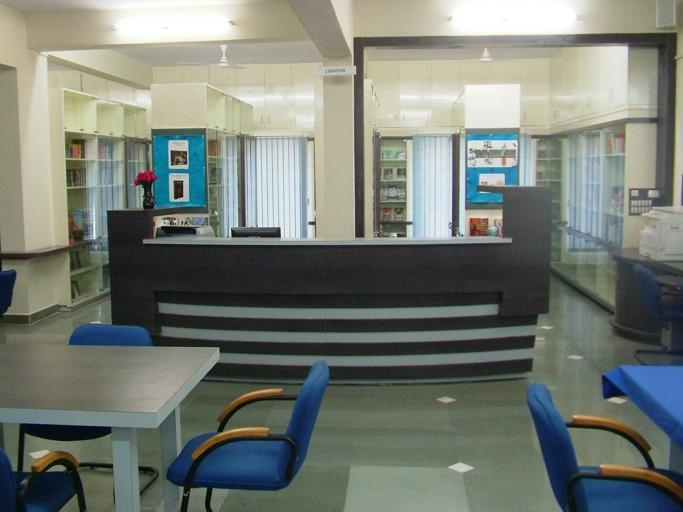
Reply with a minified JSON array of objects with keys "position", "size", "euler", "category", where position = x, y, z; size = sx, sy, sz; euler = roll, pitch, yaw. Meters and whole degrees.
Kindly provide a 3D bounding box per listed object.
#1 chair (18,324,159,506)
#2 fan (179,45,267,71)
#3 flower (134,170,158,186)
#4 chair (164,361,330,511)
[{"position":[-1.703,1.067,3.783],"size":[0.791,1.052,0.780],"euler":[0,3,22],"category":"chair"},{"position":[-2.110,-3.570,9.982],"size":[0.983,0.288,0.968],"euler":[2,10,24],"category":"fan"},{"position":[-2.136,-0.840,6.040],"size":[0.193,0.134,0.188],"euler":[-3,11,-14],"category":"flower"},{"position":[-0.485,1.042,3.691],"size":[0.984,1.214,0.808],"euler":[3,0,-1],"category":"chair"}]
